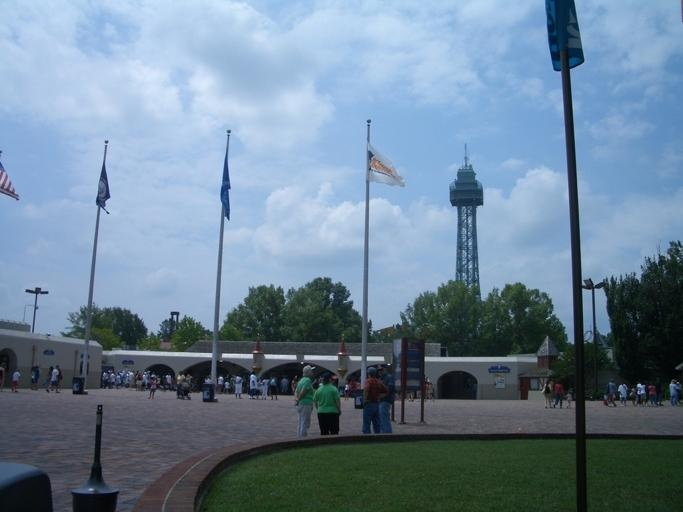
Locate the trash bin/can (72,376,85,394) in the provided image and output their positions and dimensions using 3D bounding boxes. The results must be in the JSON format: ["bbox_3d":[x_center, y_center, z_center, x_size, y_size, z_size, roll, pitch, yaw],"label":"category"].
[{"bbox_3d":[-13.723,6.833,37.843,0.530,0.971,0.667,13,-19,-41],"label":"trash bin/can"}]

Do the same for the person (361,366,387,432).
[{"bbox_3d":[0.804,3.552,17.498,0.541,1.542,1.131,0,-15,2],"label":"person"}]

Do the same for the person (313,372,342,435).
[{"bbox_3d":[-0.315,3.433,16.614,0.541,1.410,0.960,1,-14,-2],"label":"person"}]
